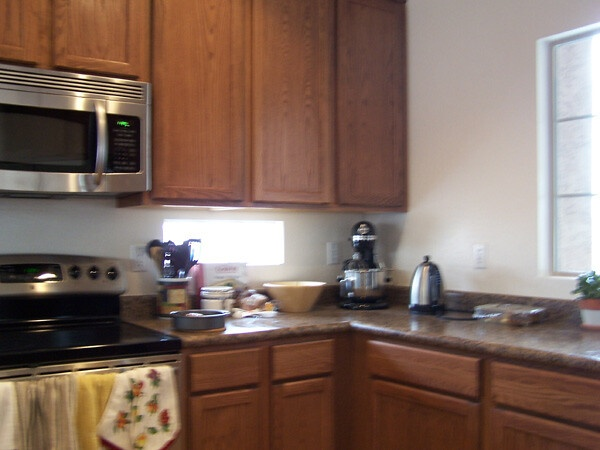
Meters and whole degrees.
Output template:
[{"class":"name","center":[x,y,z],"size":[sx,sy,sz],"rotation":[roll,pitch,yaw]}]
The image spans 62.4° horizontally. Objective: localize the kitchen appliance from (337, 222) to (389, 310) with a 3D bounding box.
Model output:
[{"class":"kitchen appliance","center":[0.360,0.225,2.827],"size":[0.288,0.481,0.284],"rotation":[-1,1,7]}]

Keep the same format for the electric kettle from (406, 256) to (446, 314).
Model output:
[{"class":"electric kettle","center":[0.680,0.314,2.668],"size":[0.198,0.280,0.185],"rotation":[0,2,-18]}]
